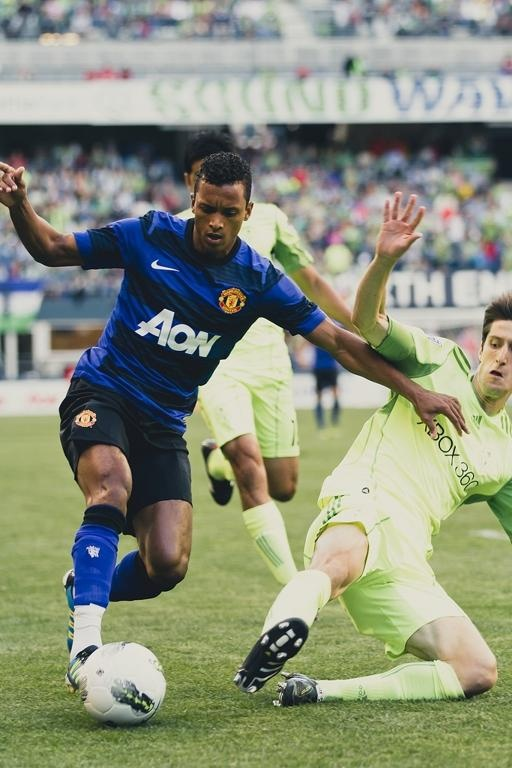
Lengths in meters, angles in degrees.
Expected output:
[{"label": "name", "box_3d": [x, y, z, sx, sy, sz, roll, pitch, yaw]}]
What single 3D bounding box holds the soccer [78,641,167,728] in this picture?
[{"label": "soccer", "box_3d": [-0.401, 0.901, 3.191, 0.248, 0.229, 0.162, -2, 23, -10]}]
